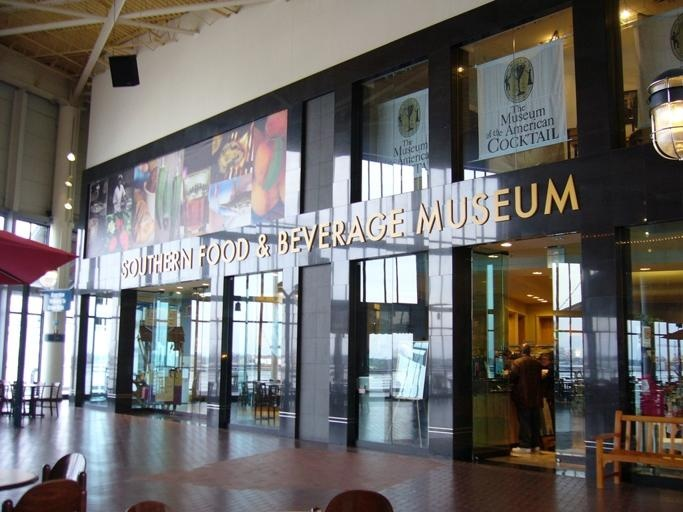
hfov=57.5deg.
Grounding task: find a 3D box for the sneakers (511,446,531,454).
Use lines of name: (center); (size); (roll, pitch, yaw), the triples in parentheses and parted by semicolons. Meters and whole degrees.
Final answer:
sneakers: (3.454, 3.692, 11.912); (0.404, 0.112, 0.260); (1, -11, -4)
